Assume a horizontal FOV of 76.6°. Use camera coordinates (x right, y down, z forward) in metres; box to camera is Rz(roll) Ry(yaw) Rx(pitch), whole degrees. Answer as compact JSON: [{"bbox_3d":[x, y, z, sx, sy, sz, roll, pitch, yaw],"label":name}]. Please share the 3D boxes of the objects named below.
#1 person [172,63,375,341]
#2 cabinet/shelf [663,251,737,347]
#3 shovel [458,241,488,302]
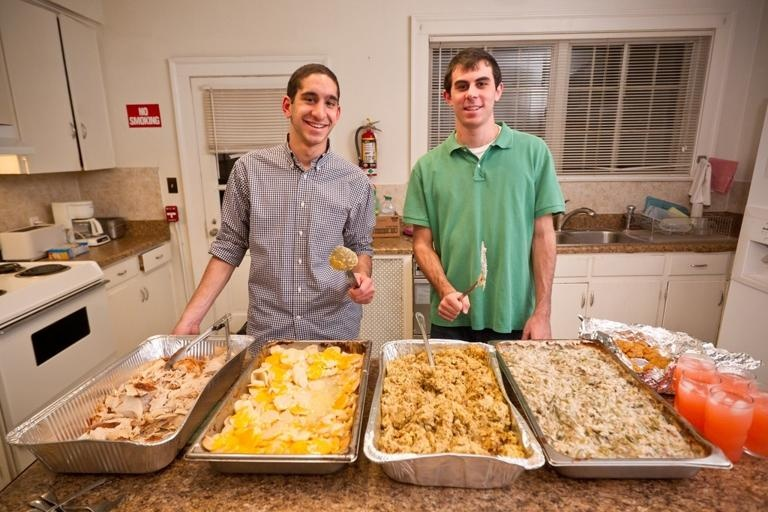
[{"bbox_3d":[-0.518,-0.226,2.492,0.931,1.425,0.482,-1,18,-3],"label":"person"},{"bbox_3d":[2.609,0.288,4.065,0.516,0.837,0.490,-2,24,16],"label":"cabinet/shelf"},{"bbox_3d":[0.478,0.072,2.598,0.098,0.055,0.333,11,-15,21],"label":"shovel"}]
